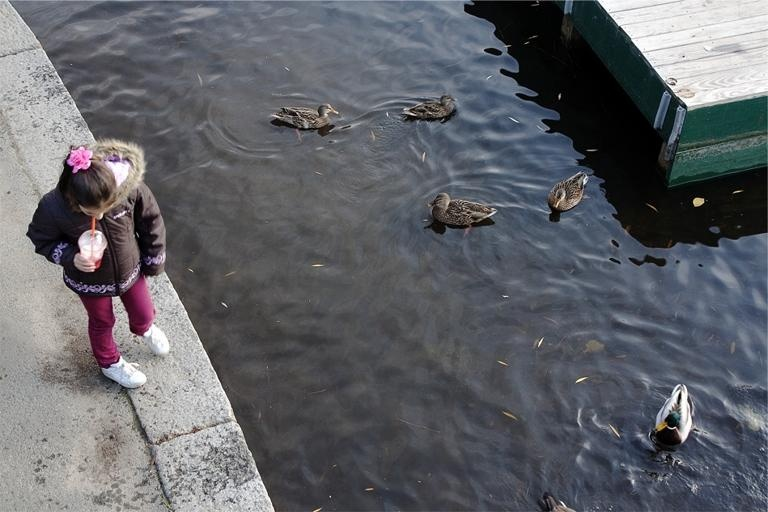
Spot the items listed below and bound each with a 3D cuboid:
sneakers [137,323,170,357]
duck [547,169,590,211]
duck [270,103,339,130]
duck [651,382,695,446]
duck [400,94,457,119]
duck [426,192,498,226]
[{"bbox_3d":[-2.787,1.060,8.575,0.544,0.230,0.200,42,66,3],"label":"sneakers"},{"bbox_3d":[2.918,-1.029,10.978,0.423,0.372,0.752,36,78,12],"label":"duck"},{"bbox_3d":[-1.399,-2.382,11.993,1.025,0.539,0.442,9,52,-15],"label":"duck"},{"bbox_3d":[3.669,2.080,8.773,0.466,0.558,0.787,14,82,33],"label":"duck"},{"bbox_3d":[0.818,-2.576,12.125,0.734,0.296,0.491,-4,38,-8],"label":"duck"},{"bbox_3d":[1.214,-0.649,10.877,0.906,0.572,0.470,8,92,22],"label":"duck"}]
